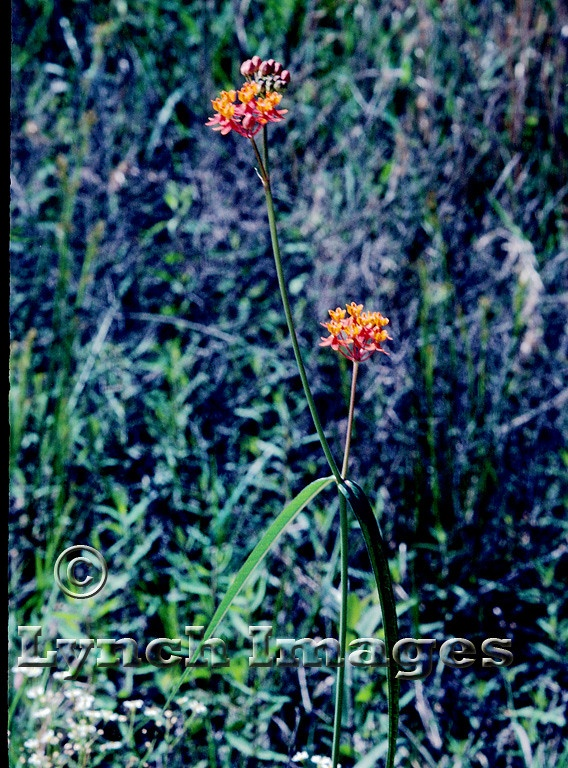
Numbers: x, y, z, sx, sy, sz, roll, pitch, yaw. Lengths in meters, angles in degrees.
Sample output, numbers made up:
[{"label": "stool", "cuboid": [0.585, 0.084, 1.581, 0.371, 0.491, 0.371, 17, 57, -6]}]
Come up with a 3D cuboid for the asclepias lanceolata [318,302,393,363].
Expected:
[{"label": "asclepias lanceolata", "cuboid": [0.080, -0.064, 1.302, 0.064, 0.054, 0.089, -2, 81, 1]}]
